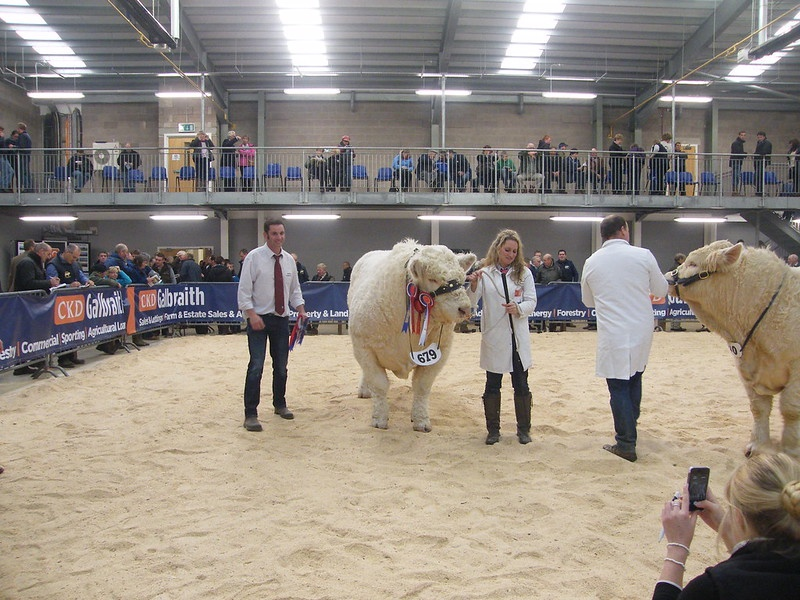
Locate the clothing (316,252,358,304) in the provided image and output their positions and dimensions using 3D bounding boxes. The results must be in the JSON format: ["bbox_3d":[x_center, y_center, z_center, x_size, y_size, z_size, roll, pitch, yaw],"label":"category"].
[{"bbox_3d":[-1.691,-0.550,24.378,0.723,1.481,2.661,5,-1,-14],"label":"clothing"}]

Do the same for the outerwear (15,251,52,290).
[{"bbox_3d":[-7.700,-0.515,19.138,0.678,1.026,1.058,2,2,-11],"label":"outerwear"}]

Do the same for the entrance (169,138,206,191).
[{"bbox_3d":[-6.399,-4.110,27.166,0.768,1.722,0.886,-1,-3,-11],"label":"entrance"}]

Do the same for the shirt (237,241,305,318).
[{"bbox_3d":[-2.293,-0.344,15.938,1.106,1.274,0.497,-2,6,-14],"label":"shirt"}]

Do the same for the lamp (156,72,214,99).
[{"bbox_3d":[-6.605,-6.509,27.783,1.635,0.850,3.834,-2,6,-14],"label":"lamp"}]

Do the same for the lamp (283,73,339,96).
[{"bbox_3d":[-2.765,-6.959,28.972,1.377,0.558,1.197,0,2,0],"label":"lamp"}]

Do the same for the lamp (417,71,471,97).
[{"bbox_3d":[1.437,-6.723,28.598,1.704,0.880,3.390,0,6,4],"label":"lamp"}]

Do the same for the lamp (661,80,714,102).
[{"bbox_3d":[8.987,-6.596,28.445,1.060,0.430,0.378,1,-7,7],"label":"lamp"}]
